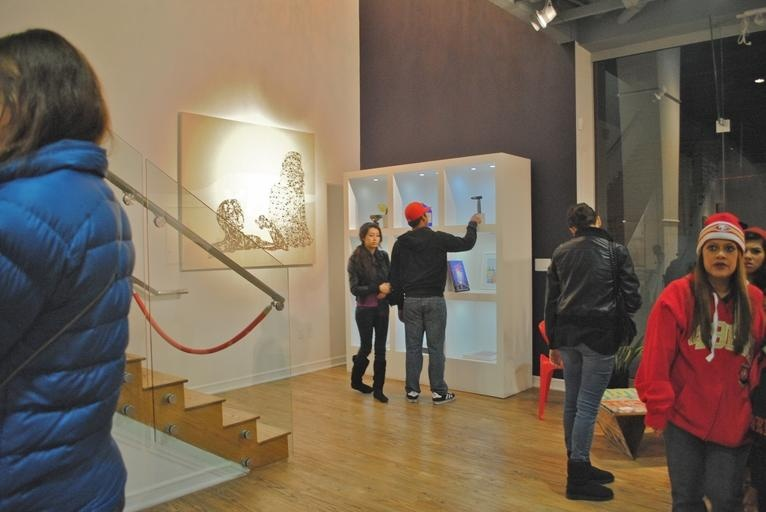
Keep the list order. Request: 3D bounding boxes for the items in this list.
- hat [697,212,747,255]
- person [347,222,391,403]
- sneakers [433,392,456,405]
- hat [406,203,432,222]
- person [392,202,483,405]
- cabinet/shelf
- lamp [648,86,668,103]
[{"bbox_3d":[1.672,-0.121,2.804,0.176,0.211,0.238,4,-11,25],"label":"hat"},{"bbox_3d":[-0.138,0.575,5.872,0.419,1.829,0.480,-1,4,-4],"label":"person"},{"bbox_3d":[0.618,1.405,5.673,0.239,0.106,0.091,-4,5,-41],"label":"sneakers"},{"bbox_3d":[0.369,-0.443,5.750,0.182,0.147,0.268,4,29,39],"label":"hat"},{"bbox_3d":[0.477,0.471,5.662,0.805,1.992,0.321,-1,4,1],"label":"person"},{"bbox_3d":[0.673,0.278,6.060,2.567,3.010,0.775,-1,-2,36],"label":"cabinet/shelf"},{"bbox_3d":[2.665,-1.561,5.494,0.043,0.131,0.092,9,1,-41],"label":"lamp"}]
